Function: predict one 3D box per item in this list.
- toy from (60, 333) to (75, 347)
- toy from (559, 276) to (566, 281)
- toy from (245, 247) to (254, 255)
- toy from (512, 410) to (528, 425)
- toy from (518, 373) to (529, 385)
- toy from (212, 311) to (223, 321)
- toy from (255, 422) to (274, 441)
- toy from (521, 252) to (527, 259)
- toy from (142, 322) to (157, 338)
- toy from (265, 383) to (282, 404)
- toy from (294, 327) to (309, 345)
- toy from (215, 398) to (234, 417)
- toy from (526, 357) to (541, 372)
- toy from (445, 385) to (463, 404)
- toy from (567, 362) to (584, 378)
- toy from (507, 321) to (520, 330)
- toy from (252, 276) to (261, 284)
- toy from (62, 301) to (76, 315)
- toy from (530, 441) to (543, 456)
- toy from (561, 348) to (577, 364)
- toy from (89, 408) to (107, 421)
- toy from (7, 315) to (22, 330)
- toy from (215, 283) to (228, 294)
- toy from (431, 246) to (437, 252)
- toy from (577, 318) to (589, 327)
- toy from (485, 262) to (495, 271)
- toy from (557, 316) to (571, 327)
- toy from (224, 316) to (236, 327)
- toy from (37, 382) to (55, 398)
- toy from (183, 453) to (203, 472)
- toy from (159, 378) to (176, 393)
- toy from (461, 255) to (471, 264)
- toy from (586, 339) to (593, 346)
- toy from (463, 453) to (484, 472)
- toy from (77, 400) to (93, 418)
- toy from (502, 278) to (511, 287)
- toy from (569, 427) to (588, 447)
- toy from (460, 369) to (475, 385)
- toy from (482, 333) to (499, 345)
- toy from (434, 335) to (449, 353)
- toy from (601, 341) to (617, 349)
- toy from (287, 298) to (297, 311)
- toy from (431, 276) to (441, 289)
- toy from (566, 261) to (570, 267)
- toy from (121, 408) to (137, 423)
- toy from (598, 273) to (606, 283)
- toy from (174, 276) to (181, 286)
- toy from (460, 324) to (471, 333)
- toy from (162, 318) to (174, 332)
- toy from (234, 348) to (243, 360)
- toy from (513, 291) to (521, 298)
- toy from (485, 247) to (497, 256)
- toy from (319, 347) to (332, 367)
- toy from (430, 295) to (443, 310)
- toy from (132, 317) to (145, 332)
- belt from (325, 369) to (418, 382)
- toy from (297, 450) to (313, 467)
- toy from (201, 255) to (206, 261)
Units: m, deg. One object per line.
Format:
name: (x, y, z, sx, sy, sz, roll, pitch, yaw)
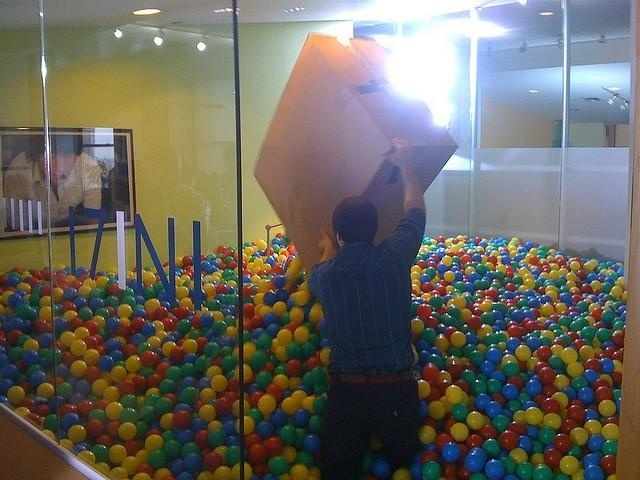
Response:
toy: (-1.166, 0.454, 2.434, 0.062, 0.083, 0.065, 4, -7, -22)
toy: (1.693, 0.265, 3.688, 0.036, 0.042, 0.038, -2, 7, 1)
toy: (-0.447, 0.071, 3.329, 0.039, 0.046, 0.048, 10, 7, -15)
toy: (0.882, 0.782, 2.327, 0.046, 0.064, 0.050, -1, -6, 9)
toy: (0.960, 0.653, 2.487, 0.042, 0.058, 0.043, -1, -4, -33)
toy: (-0.373, 0.275, 1.914, 0.035, 0.039, 0.042, 3, 13, -39)
toy: (-0.233, 0.779, 2.191, 0.057, 0.076, 0.060, -3, 11, -24)
toy: (1.621, 0.122, 4.203, 0.049, 0.019, 0.051, 4, 18, 37)
toy: (-0.708, 0.370, 2.188, 0.046, 0.053, 0.060, 14, 17, -8)
toy: (-0.201, 0.660, 2.287, 0.057, 0.079, 0.062, -3, 12, -15)
toy: (-0.083, 0.435, 2.403, 0.060, 0.082, 0.065, 0, 4, 0)
toy: (-0.367, 0.634, 2.006, 0.064, 0.086, 0.066, -6, -9, 42)
toy: (1.034, 0.598, 2.564, 0.052, 0.070, 0.057, 1, 6, 16)
toy: (0.587, 0.679, 2.317, 0.066, 0.088, 0.068, -6, 5, -30)
toy: (1.222, 0.623, 2.530, 0.062, 0.085, 0.068, 2, -25, -3)
toy: (1.015, 0.450, 2.777, 0.032, 0.049, 0.037, 6, -38, -6)
toy: (-0.344, 0.216, 2.843, 0.034, 0.030, 0.037, -1, 3, 13)
toy: (-1.184, 0.318, 2.491, 0.042, 0.058, 0.048, 7, 27, -1)
toy: (0.920, 0.884, 2.246, 0.040, 0.056, 0.045, -2, 5, 6)
toy: (1.214, 0.566, 2.573, 0.070, 0.066, 0.062, 2, 6, 27)
toy: (-0.951, 0.745, 2.267, 0.051, 0.069, 0.054, 0, 13, 9)
toy: (-1.587, 0.431, 2.732, 0.072, 0.097, 0.075, 6, -6, -26)
toy: (-0.356, 0.176, 1.895, 0.033, 0.045, 0.036, -2, 10, 16)
toy: (0.891, 0.072, 4.105, 0.019, 0.038, 0.065, 11, -3, -14)
toy: (1.453, 0.447, 2.920, 0.045, 0.038, 0.045, -2, 5, -33)
toy: (1.211, 0.189, 3.759, 0.048, 0.061, 0.056, 11, -12, -7)
toy: (1.369, 0.454, 2.953, 0.050, 0.065, 0.057, 9, 46, 20)
toy: (-0.318, 0.285, 1.864, 0.040, 0.040, 0.036, 2, -9, 38)
toy: (-1.300, 0.713, 2.496, 0.154, 0.074, 0.021, 3, 6, 38)
toy: (-0.504, 0.878, 2.082, 0.086, 0.066, 0.027, 1, 5, 17)
toy: (-0.628, 0.601, 2.170, 0.054, 0.073, 0.055, 15, 6, 42)
toy: (1.025, 0.137, 3.714, 0.053, 0.063, 0.067, 3, -19, -3)
toy: (1.410, 0.535, 2.767, 0.031, 0.044, 0.034, -1, 4, 10)
toy: (0.628, 0.910, 2.153, 0.059, 0.085, 0.065, 1, -2, 7)
toy: (-1.029, 0.732, 2.306, 0.068, 0.086, 0.076, 8, 40, -22)
toy: (1.254, 0.288, 3.547, 0.044, 0.051, 0.057, -3, -40, 19)
toy: (1.099, 0.833, 2.241, 0.062, 0.083, 0.064, -3, -6, -26)
toy: (0.682, 0.632, 2.455, 0.048, 0.066, 0.053, 1, 15, 1)
toy: (0.847, 0.498, 2.629, 0.047, 0.063, 0.053, 5, 40, 4)
toy: (0.581, 0.490, 2.537, 0.064, 0.088, 0.068, -6, 6, -15)
toy: (1.505, 0.550, 2.755, 0.039, 0.053, 0.043, -7, 3, 10)
toy: (-0.137, 0.309, 2.521, 0.038, 0.052, 0.042, 3, 12, -2)
toy: (0.715, 0.262, 3.274, 0.051, 0.072, 0.055, 1, -1, -9)
toy: (1.887, 0.182, 4.025, 0.021, 0.025, 0.047, 7, 48, 12)
toy: (-0.799, 0.734, 2.208, 0.054, 0.060, 0.064, 22, -47, -24)
toy: (1.988, 0.268, 3.733, 0.041, 0.057, 0.045, 3, -2, -5)
toy: (-0.534, 0.151, 1.974, 0.032, 0.027, 0.019, 4, 22, 44)
toy: (0.736, 0.449, 2.676, 0.031, 0.034, 0.045, 0, 36, -30)
toy: (-0.604, 0.336, 2.112, 0.051, 0.060, 0.053, -6, -8, 1)
toy: (-0.291, 0.401, 1.858, 0.034, 0.047, 0.037, 0, 6, 6)
toy: (1.253, 0.345, 3.352, 0.037, 0.047, 0.042, 20, 54, 16)
toy: (1.358, 0.095, 4.170, 0.058, 0.048, 0.063, -3, 8, -12)
toy: (0.017, 0.503, 2.254, 0.067, 0.092, 0.074, 1, 5, 8)
toy: (0.601, 0.322, 2.776, 0.058, 0.078, 0.063, -6, 17, -14)
toy: (-0.772, 0.354, 2.226, 0.059, 0.079, 0.062, 1, 9, -21)
belt: (0.202, 0.534, 2.049, 0.331, 0.045, 0.067, -1, 5, 0)
toy: (-0.061, 0.895, 2.159, 0.049, 0.064, 0.048, -27, 28, -35)
toy: (-0.420, 0.062, 1.897, 0.017, 0.021, 0.020, -5, -31, 5)
